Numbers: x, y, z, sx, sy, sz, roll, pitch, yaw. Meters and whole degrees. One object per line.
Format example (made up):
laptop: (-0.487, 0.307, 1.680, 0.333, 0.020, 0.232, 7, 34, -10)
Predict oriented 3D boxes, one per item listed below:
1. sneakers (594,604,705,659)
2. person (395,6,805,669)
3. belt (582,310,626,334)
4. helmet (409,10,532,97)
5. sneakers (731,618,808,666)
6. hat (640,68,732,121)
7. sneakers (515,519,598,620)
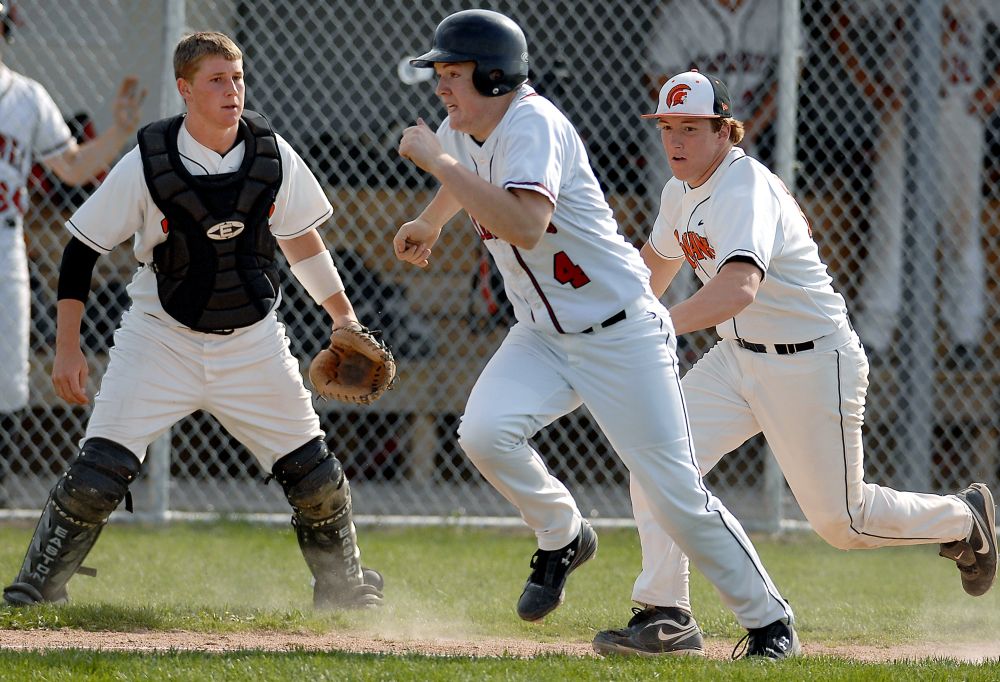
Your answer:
sneakers: (0.643, 1.263, 6.372, 0.527, 0.222, 0.187, 5, -13, -22)
person: (0.325, -0.024, 6.138, 1.517, 2.677, 0.522, 1, 2, -6)
belt: (0.434, -0.076, 6.073, 0.115, 0.027, 0.114, -28, 7, 12)
helmet: (-0.128, -1.192, 6.096, 0.455, 0.302, 0.324, -6, 9, -9)
sneakers: (1.111, 1.275, 6.164, 0.136, 0.151, 0.350, -11, -14, 30)
hat: (0.830, -1.088, 6.492, 0.428, 0.229, 0.306, -9, 11, -43)
sneakers: (0.266, 1.058, 6.684, 0.175, 0.480, 0.238, 28, -5, 41)
